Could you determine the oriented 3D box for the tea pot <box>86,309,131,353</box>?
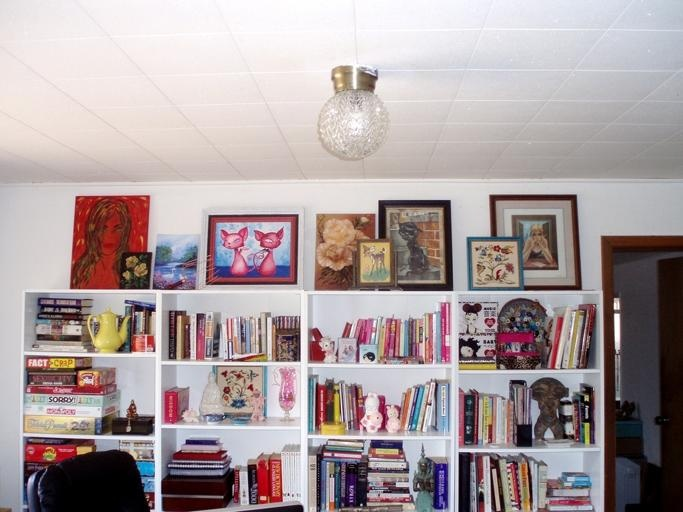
[{"bbox_3d":[-1.649,0.528,4.020,0.292,0.288,0.203,7,-10,-41],"label":"tea pot"}]

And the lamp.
[{"bbox_3d":[0.058,-0.645,2.639,0.398,0.416,0.394,-1,7,-14],"label":"lamp"}]

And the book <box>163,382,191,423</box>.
[{"bbox_3d":[-1.156,1.046,3.987,0.091,0.219,0.238,-2,-13,3],"label":"book"}]

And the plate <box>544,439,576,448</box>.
[{"bbox_3d":[1.480,1.245,3.823,0.239,0.052,0.076,0,-7,-4],"label":"plate"}]

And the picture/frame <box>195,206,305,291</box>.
[{"bbox_3d":[-0.651,-0.035,4.176,0.618,0.441,0.026,0,-5,1],"label":"picture/frame"}]
